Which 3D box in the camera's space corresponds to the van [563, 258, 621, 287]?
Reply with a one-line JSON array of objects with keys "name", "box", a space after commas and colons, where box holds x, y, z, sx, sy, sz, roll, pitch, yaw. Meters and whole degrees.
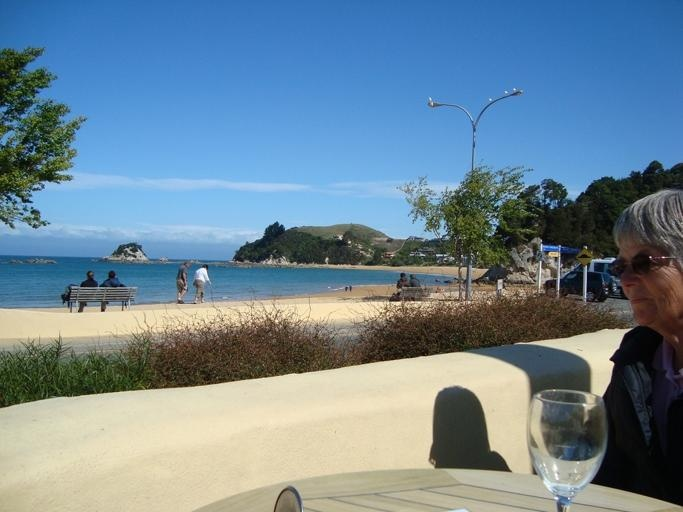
[{"name": "van", "box": [10.765, 0.763, 23.732, 2.276, 1.320, 1.484, 3, 1, 35]}]
